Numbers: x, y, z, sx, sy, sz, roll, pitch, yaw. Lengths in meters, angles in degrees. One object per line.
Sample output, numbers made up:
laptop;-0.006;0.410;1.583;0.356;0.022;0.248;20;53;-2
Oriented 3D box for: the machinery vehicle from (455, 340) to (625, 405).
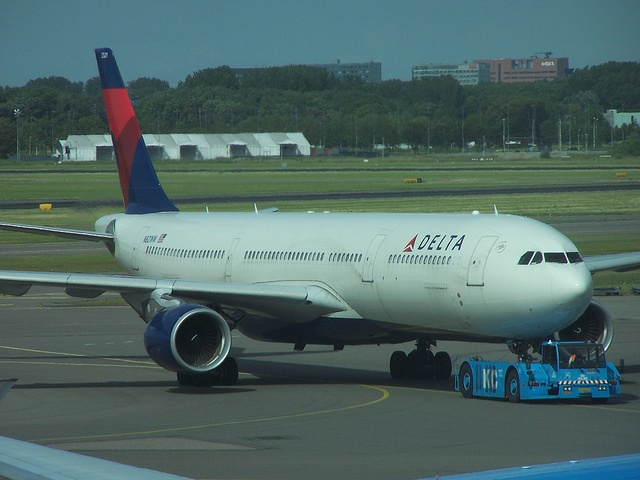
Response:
machinery vehicle;5.567;3.285;27.723;3.807;1.090;3.512;-2;-3;-5
